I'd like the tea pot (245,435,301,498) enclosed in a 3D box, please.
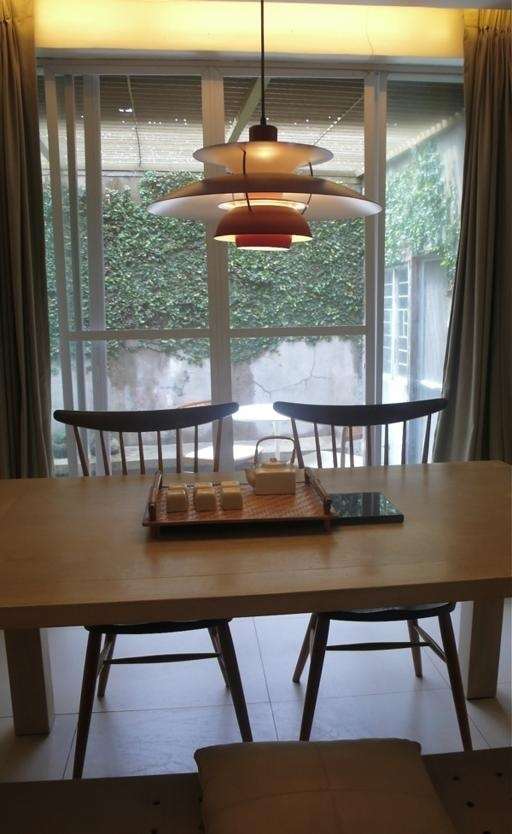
[{"bbox_3d":[0.031,0.102,1.486,0.101,0.130,0.090,1,-1,4],"label":"tea pot"}]

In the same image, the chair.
[{"bbox_3d":[0.018,0.433,1.642,0.846,0.711,0.374,-1,8,-5],"label":"chair"}]
